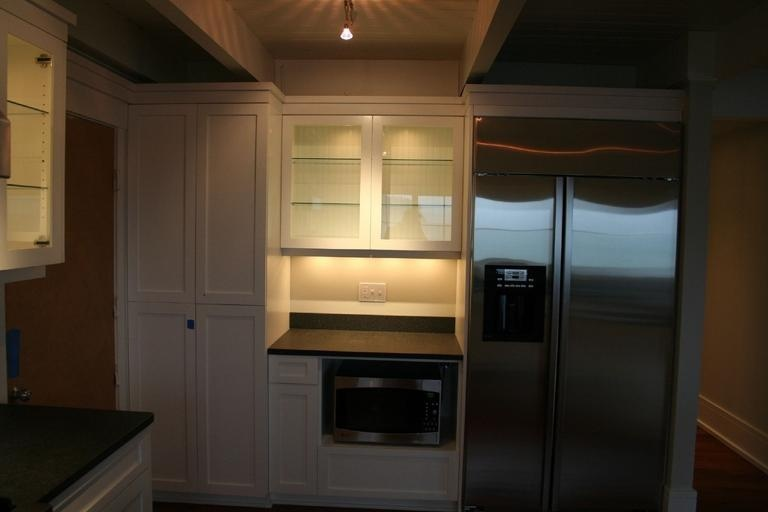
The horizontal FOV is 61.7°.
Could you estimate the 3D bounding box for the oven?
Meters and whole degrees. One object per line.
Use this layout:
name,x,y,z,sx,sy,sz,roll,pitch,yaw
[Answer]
oven,0.016,1.097,4.910,0.831,0.510,0.592,3,7,3

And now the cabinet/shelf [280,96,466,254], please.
cabinet/shelf,-0.069,-0.568,5.035,1.418,1.176,0.477,1,2,2
